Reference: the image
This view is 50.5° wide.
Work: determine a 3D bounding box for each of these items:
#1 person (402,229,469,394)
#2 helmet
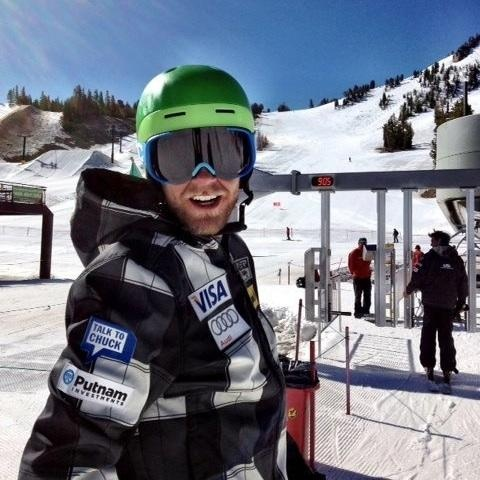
[{"bbox_3d":[2.603,0.954,6.577,0.668,1.901,0.501,0,0,-18],"label":"person"},{"bbox_3d":[-0.174,-0.471,1.965,0.380,0.490,0.563,-5,11,-16],"label":"helmet"}]
